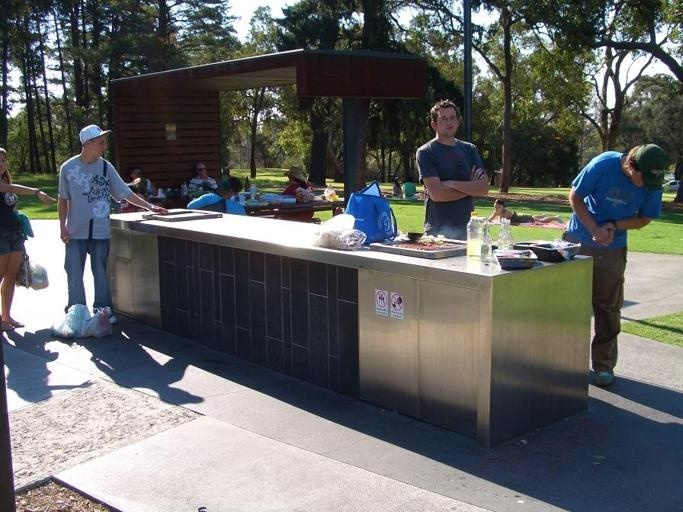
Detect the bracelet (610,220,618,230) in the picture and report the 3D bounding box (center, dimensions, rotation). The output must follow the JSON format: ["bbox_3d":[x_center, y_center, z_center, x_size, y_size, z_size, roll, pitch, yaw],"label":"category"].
[{"bbox_3d":[2.281,-0.256,5.414,0.085,0.070,0.040,-10,15,-35],"label":"bracelet"}]

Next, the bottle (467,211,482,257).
[{"bbox_3d":[1.041,-0.147,5.049,0.108,0.267,0.277,2,13,11],"label":"bottle"}]

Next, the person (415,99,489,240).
[{"bbox_3d":[0.996,-0.702,5.835,0.460,1.792,0.433,0,1,-30],"label":"person"}]

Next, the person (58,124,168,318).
[{"bbox_3d":[-2.601,-0.336,7.284,1.031,2.186,0.508,1,19,-20],"label":"person"}]

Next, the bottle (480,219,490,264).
[{"bbox_3d":[1.129,-0.118,5.011,0.079,0.252,0.489,2,14,13],"label":"bottle"}]

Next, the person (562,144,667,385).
[{"bbox_3d":[2.278,0.066,5.520,0.755,2.031,0.483,5,13,24],"label":"person"}]
